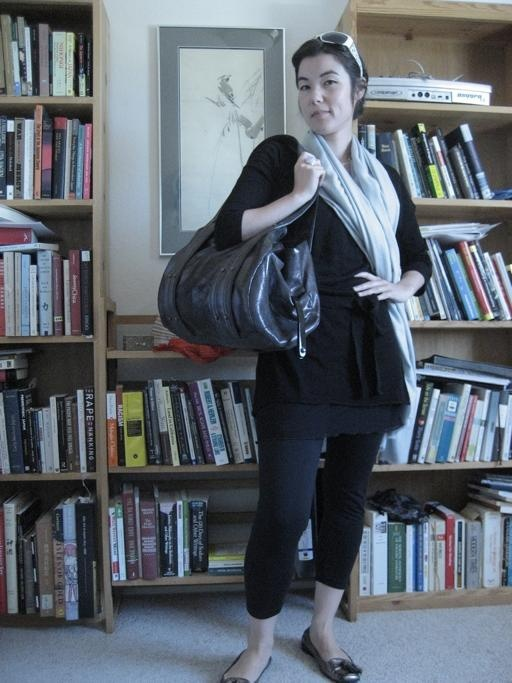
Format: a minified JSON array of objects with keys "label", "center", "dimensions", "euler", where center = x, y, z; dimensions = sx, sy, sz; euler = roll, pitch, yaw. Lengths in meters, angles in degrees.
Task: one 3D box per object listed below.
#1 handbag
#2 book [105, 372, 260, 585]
[{"label":"handbag","center":[-0.037,-0.133,1.243],"dimensions":[0.321,0.325,0.223],"euler":[-1,-1,4]},{"label":"book","center":[-0.232,0.358,2.096],"dimensions":[0.513,0.658,0.667],"euler":[-2,-1,-4]}]
